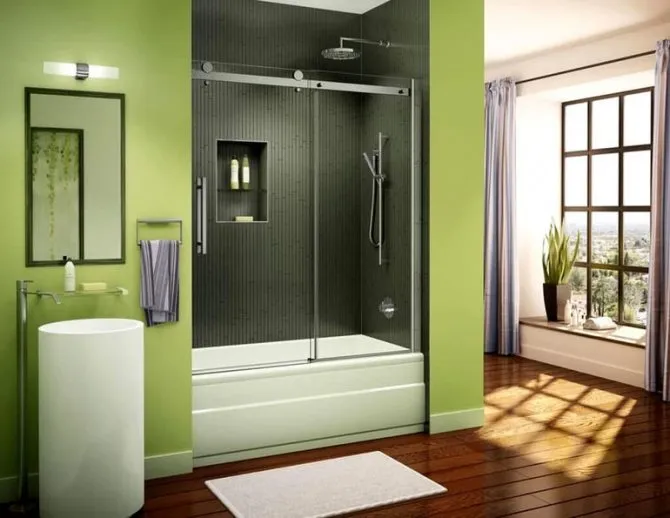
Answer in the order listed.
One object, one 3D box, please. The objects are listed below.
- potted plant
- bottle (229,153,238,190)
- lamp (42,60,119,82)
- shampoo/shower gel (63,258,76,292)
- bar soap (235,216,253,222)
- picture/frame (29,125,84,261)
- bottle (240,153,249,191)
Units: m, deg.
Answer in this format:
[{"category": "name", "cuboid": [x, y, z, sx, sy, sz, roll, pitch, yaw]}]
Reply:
[{"category": "potted plant", "cuboid": [2.648, 0.144, 6.579, 0.438, 1.174, 0.561, 2, 5, 24]}, {"category": "bottle", "cuboid": [-0.824, -0.705, 4.593, 0.085, 0.260, 0.040, -1, 5, -21]}, {"category": "lamp", "cuboid": [-1.533, -1.144, 3.373, 0.424, 0.104, 0.072, -1, 5, -19]}, {"category": "shampoo/shower gel", "cuboid": [-1.590, 0.091, 3.351, 0.069, 0.203, 0.151, -2, 5, -26]}, {"category": "bar soap", "cuboid": [-0.753, -0.333, 4.634, 0.151, 0.055, 0.044, -1, 5, -13]}, {"category": "picture/frame", "cuboid": [-1.683, -0.382, 3.369, 0.297, 0.803, 0.055, -2, 5, -28]}, {"category": "bottle", "cuboid": [-0.740, -0.722, 4.640, 0.084, 0.294, 0.036, -1, 5, -17]}]
